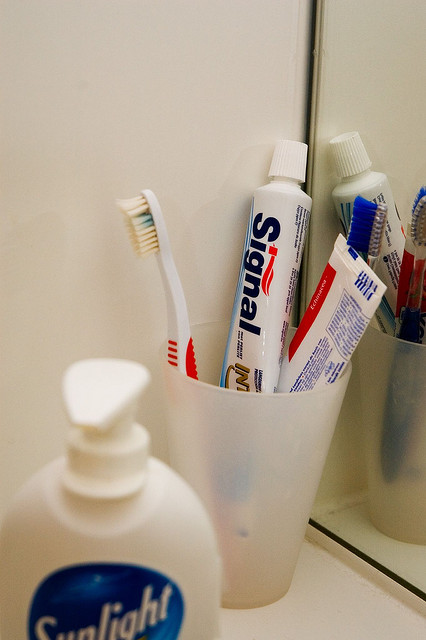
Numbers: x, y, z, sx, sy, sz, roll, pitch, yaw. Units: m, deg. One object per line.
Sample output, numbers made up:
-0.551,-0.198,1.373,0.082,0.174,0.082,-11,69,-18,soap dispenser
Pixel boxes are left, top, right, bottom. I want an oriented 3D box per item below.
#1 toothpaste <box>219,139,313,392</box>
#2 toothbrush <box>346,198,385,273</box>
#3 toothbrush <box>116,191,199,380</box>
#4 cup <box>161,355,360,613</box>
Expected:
0.044,-0.040,0.472,0.045,0.192,0.042,1,14,-36,toothpaste
0.106,-0.061,0.427,0.024,0.040,0.026,14,36,20,toothbrush
-0.034,-0.017,0.417,0.038,0.153,0.024,-5,35,0,toothbrush
0.033,0.083,0.489,0.184,0.213,0.155,-1,3,-20,cup
